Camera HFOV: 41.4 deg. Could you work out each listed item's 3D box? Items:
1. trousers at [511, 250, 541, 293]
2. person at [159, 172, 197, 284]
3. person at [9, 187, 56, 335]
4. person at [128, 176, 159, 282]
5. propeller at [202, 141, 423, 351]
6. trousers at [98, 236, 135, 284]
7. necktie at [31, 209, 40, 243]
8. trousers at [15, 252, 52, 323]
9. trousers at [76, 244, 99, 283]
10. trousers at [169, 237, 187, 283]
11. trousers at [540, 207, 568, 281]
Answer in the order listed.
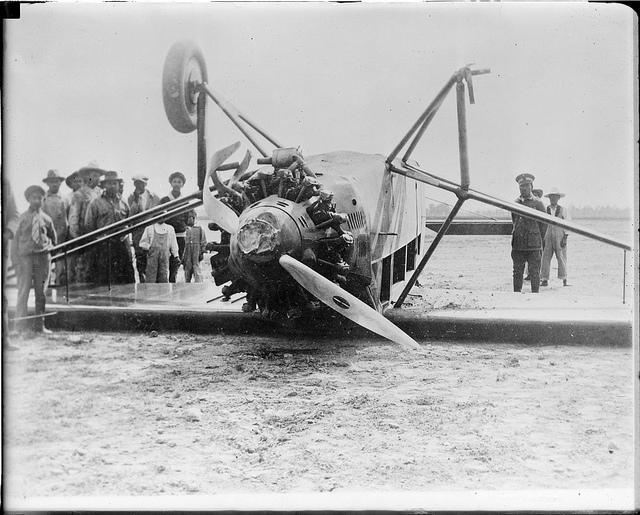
[{"bbox_3d":[1.389,0.059,5.707,0.196,0.464,0.148,1,33,19],"label":"trousers"},{"bbox_3d":[-1.051,-0.186,6.254,0.298,0.895,0.227,-5,22,-21],"label":"person"},{"bbox_3d":[-1.932,0.023,5.679,0.300,0.977,0.169,1,-1,-35],"label":"person"},{"bbox_3d":[-1.223,-0.179,5.995,0.221,0.776,0.209,-7,-3,-12],"label":"person"},{"bbox_3d":[-0.138,-0.118,5.232,1.209,1.225,0.364,0,-1,3],"label":"propeller"},{"bbox_3d":[-1.505,0.031,6.170,0.224,0.335,0.020,-7,7,12],"label":"trousers"},{"bbox_3d":[-1.918,-0.216,5.699,0.053,0.218,0.114,1,-1,-19],"label":"necktie"},{"bbox_3d":[-1.974,0.166,5.796,0.235,0.625,0.171,0,33,-26],"label":"trousers"},{"bbox_3d":[-1.675,0.033,6.058,0.146,0.208,0.610,2,-20,-20],"label":"trousers"},{"bbox_3d":[-1.064,0.015,6.325,0.101,0.335,0.229,1,-1,-26],"label":"trousers"},{"bbox_3d":[1.562,-0.037,5.656,0.192,0.377,0.110,0,-1,4],"label":"trousers"}]
